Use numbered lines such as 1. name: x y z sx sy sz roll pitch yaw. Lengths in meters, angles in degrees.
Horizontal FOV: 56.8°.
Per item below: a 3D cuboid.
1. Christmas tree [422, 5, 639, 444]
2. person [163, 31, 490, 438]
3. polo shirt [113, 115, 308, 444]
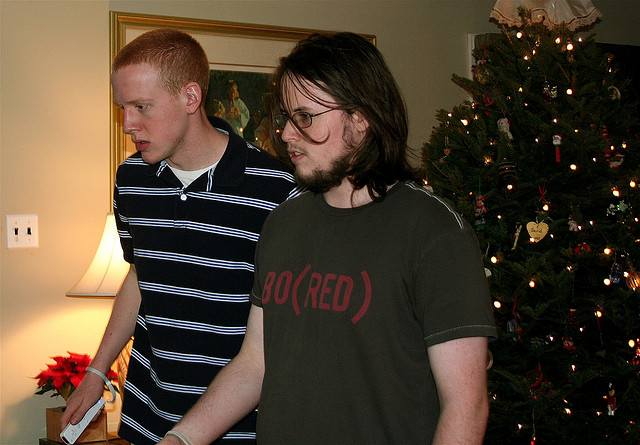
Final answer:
1. Christmas tree: 1.045 0.003 2.818 0.965 2.124 0.383 2 -3 11
2. person: -0.007 0.134 2.629 1.131 2.145 1.346 5 -6 -23
3. polo shirt: -0.477 0.213 2.297 0.794 1.303 0.215 1 -3 21
